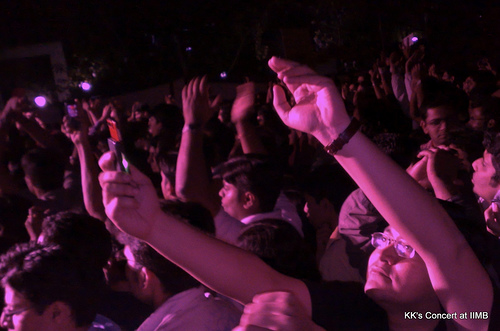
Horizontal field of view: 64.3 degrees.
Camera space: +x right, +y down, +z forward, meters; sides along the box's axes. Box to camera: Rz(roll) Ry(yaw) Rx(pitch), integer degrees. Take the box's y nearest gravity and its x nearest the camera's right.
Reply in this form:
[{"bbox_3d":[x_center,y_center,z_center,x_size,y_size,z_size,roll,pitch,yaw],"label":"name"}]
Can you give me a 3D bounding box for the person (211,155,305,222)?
[{"bbox_3d":[0.018,0.265,3.480,0.663,0.657,0.716,-1,6,-2],"label":"person"}]
